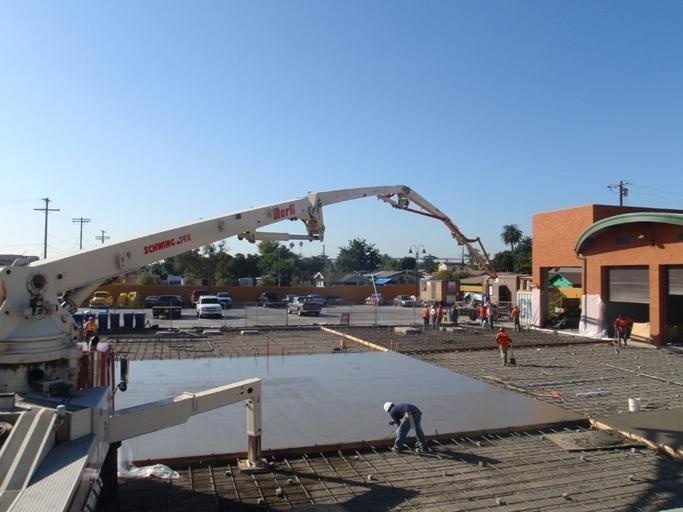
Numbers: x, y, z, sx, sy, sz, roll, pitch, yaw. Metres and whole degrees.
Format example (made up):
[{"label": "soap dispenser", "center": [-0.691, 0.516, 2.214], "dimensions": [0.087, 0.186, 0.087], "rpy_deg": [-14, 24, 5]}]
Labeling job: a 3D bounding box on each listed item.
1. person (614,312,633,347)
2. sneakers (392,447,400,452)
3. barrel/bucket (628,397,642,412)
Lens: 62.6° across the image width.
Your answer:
[{"label": "person", "center": [12.252, 3.284, 24.455], "dimensions": [0.574, 1.284, 0.908], "rpy_deg": [8, 2, -3]}, {"label": "sneakers", "center": [1.128, 4.024, 11.618], "dimensions": [0.080, 0.063, 0.128], "rpy_deg": [19, -23, -14]}, {"label": "barrel/bucket", "center": [7.211, 3.710, 13.921], "dimensions": [0.289, 0.316, 0.294], "rpy_deg": [0, -8, 0]}]
